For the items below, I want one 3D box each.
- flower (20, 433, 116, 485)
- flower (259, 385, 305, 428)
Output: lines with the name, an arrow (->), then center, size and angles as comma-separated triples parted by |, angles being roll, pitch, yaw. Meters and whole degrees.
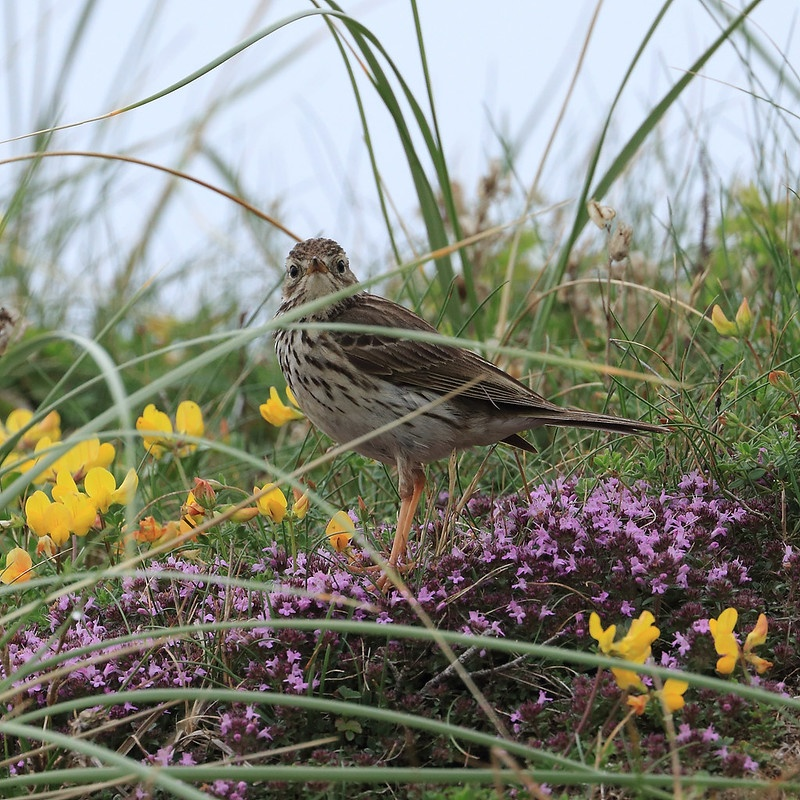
flower -> -1.264, 0.228, 3.677 | 0.276, 0.133, 0.276 | -40, 9, 12
flower -> -0.547, 0.033, 4.713 | 0.169, 0.186, 0.367 | -3, -9, 29
